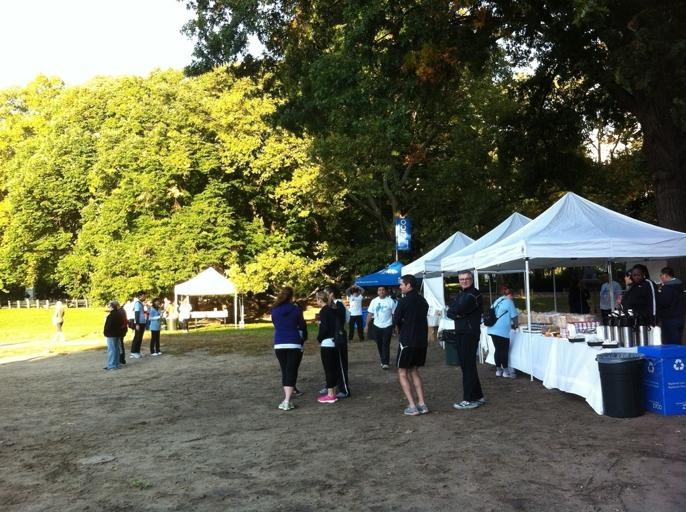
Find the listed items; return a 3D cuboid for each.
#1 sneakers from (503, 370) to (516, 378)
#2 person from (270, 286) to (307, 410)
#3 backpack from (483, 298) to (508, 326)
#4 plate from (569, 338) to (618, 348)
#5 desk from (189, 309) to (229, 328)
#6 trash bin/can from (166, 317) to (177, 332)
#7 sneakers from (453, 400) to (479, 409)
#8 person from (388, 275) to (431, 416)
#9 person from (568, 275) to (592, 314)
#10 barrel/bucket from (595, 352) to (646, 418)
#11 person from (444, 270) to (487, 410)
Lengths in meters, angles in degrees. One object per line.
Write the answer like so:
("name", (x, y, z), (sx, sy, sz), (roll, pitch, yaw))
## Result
("sneakers", (3.756, 2.640, 13.635), (0.271, 0.183, 0.123), (-1, 1, 4))
("person", (-1.014, 1.672, 11.074), (0.636, 2.224, 0.424), (-2, -5, 3))
("backpack", (3.231, 1.289, 13.231), (0.614, 0.568, 0.386), (-2, -4, -4))
("plate", (4.573, 1.552, 10.950), (0.610, 0.158, 0.823), (-2, -6, -1))
("desk", (-8.150, 3.730, 36.939), (1.888, 0.940, 5.364), (-1, -6, -10))
("trash bin/can", (-9.744, 3.777, 33.894), (0.620, 0.700, 0.624), (-1, -4, 13))
("sneakers", (2.192, 2.593, 10.742), (0.416, 0.184, 0.165), (2, -2, 2))
("person", (1.232, 1.538, 10.713), (0.568, 2.386, 1.264), (-2, -6, 8))
("person", (8.266, 1.346, 21.194), (0.633, 1.247, 2.098), (-4, -6, 20))
("barrel/bucket", (4.603, 2.140, 10.042), (0.838, 0.921, 0.885), (-1, -7, 0))
("person", (2.217, 1.458, 10.877), (0.595, 2.448, 1.004), (-3, -6, 12))
